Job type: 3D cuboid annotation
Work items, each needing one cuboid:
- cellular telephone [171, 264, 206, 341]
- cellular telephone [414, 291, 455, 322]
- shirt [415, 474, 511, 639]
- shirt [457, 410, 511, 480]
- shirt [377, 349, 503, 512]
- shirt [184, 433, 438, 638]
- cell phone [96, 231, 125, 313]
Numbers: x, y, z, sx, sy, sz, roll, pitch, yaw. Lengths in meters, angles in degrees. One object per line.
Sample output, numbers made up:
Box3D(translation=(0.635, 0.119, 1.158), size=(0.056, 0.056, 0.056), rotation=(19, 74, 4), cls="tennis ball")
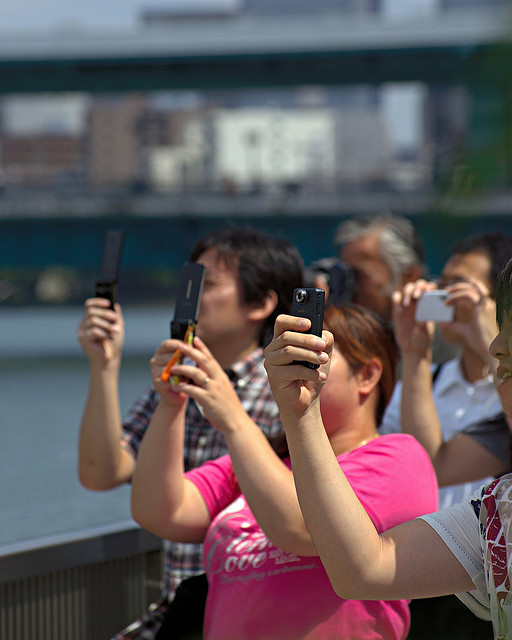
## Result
Box3D(translation=(-0.162, -0.042, 2.459), size=(0.072, 0.178, 0.075), rotation=(-2, -1, 11), cls="cellular telephone")
Box3D(translation=(0.499, -0.038, 3.000), size=(0.111, 0.089, 0.067), rotation=(-1, -1, 7), cls="cellular telephone")
Box3D(translation=(0.429, 0.436, 2.001), size=(0.145, 0.201, 0.201), rotation=(0, -2, -41), cls="shirt")
Box3D(translation=(0.615, 0.338, 2.883), size=(0.134, 0.120, 0.112), rotation=(-2, -1, 8), cls="shirt")
Box3D(translation=(0.602, 0.313, 3.100), size=(0.499, 0.403, 0.185), rotation=(-11, -14, 40), cls="shirt")
Box3D(translation=(0.122, 0.457, 2.192), size=(0.508, 0.414, 0.265), rotation=(-11, -48, 42), cls="shirt")
Box3D(translation=(-0.354, -0.116, 2.588), size=(0.060, 0.196, 0.058), rotation=(-1, -1, -34), cls="cell phone")
